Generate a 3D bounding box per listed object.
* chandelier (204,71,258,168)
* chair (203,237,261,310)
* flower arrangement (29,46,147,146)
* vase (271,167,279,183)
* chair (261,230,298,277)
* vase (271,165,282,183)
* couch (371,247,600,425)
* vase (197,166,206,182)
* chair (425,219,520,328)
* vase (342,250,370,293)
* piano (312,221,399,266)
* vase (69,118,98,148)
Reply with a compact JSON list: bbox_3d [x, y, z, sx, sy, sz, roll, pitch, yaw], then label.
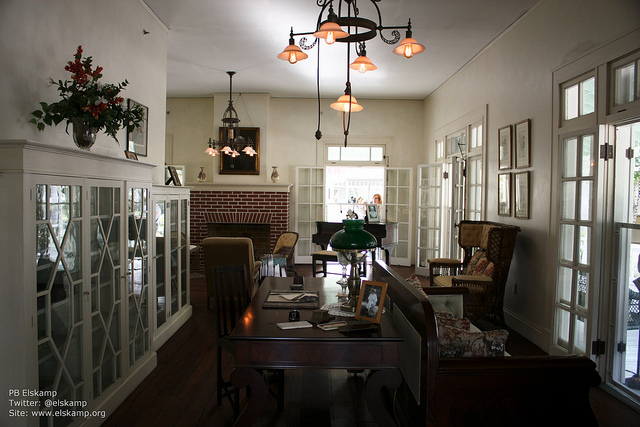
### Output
[{"bbox_3d":[-1.847,-1.695,9.021,0.737,2.147,0.662,2,3,8],"label":"chandelier"},{"bbox_3d":[-1.365,0.877,7.024,0.964,1.085,0.975,-2,6,-14],"label":"chair"},{"bbox_3d":[-2.384,-1.122,4.577,0.550,1.040,0.855,7,2,6],"label":"flower arrangement"},{"bbox_3d":[-1.046,-0.884,10.137,0.171,0.351,0.526,-1,4,-5],"label":"vase"},{"bbox_3d":[-0.817,0.841,8.631,0.766,0.884,0.629,-4,4,-42],"label":"chair"},{"bbox_3d":[-1.009,-0.914,10.144,0.219,0.410,0.537,-1,4,-2],"label":"vase"},{"bbox_3d":[1.313,0.502,4.256,1.434,1.716,2.692,-1,3,0],"label":"couch"},{"bbox_3d":[-2.729,-0.904,10.129,0.187,0.365,0.425,-2,4,-15],"label":"vase"},{"bbox_3d":[2.291,0.910,6.719,1.001,1.558,1.547,4,2,-1],"label":"chair"},{"bbox_3d":[0.315,0.559,4.263,0.344,0.429,0.343,0,-4,0],"label":"vase"},{"bbox_3d":[0.801,0.507,8.945,1.810,0.867,0.912,3,3,24],"label":"piano"},{"bbox_3d":[-2.405,-0.792,4.505,0.274,0.301,0.290,2,3,18],"label":"vase"}]
